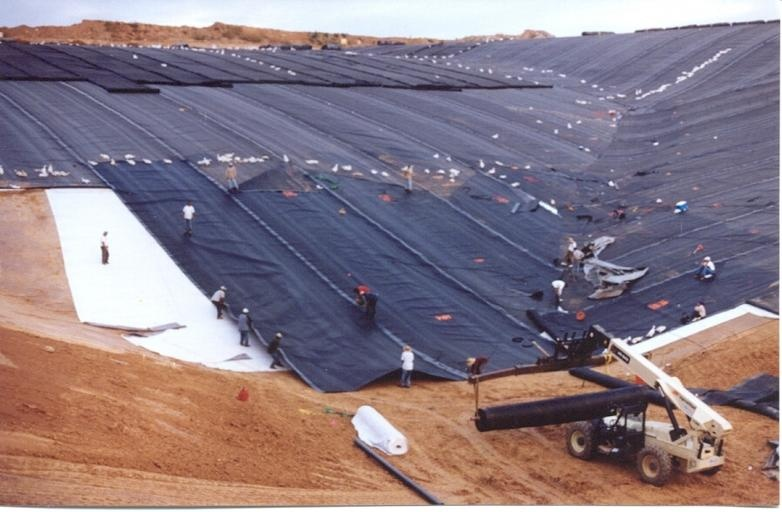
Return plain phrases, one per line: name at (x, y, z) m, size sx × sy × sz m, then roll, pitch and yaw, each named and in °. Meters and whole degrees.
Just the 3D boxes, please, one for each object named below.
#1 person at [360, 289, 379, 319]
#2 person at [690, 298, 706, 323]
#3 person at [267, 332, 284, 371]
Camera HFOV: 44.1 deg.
person at (-1.008, 2.387, 46.248) m, size 0.643 × 1.322 × 0.747 m, roll 4°, pitch 29°, yaw 26°
person at (14.681, 2.650, 46.233) m, size 0.783 × 0.749 × 1.116 m, roll -1°, pitch 20°, yaw 15°
person at (-5.238, 4.281, 44.315) m, size 0.753 × 1.582 × 1.259 m, roll -10°, pitch 24°, yaw 1°
